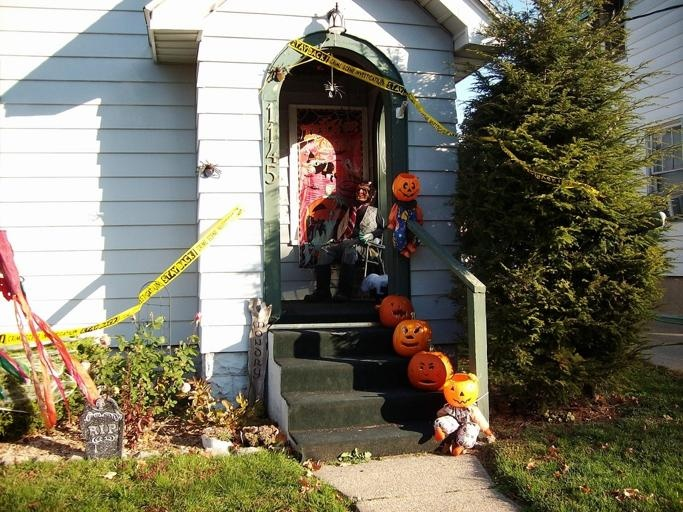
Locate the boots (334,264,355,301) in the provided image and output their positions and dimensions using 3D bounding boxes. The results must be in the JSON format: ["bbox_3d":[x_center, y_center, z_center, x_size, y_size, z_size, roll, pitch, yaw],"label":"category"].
[{"bbox_3d":[0.043,0.366,7.964,0.232,0.516,0.431,1,-6,32],"label":"boots"}]

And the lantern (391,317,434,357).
[{"bbox_3d":[0.790,0.891,6.621,0.404,0.363,0.403,-1,-6,10],"label":"lantern"}]

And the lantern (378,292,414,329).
[{"bbox_3d":[0.614,0.630,7.009,0.364,0.324,0.350,1,-14,-18],"label":"lantern"}]

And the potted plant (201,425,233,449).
[{"bbox_3d":[-1.210,1.777,5.891,0.300,0.165,0.275,-5,10,-13],"label":"potted plant"}]

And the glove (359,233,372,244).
[{"bbox_3d":[0.319,-0.227,7.644,0.136,0.122,0.104,13,-8,-14],"label":"glove"}]

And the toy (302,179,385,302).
[{"bbox_3d":[0.059,-0.168,8.150,1.002,1.682,0.908,26,8,2],"label":"toy"}]

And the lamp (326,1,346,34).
[{"bbox_3d":[-0.060,-2.803,7.063,0.223,0.367,0.220,-3,9,-4],"label":"lamp"}]

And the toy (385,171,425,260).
[{"bbox_3d":[0.727,-0.477,7.100,0.420,0.941,0.417,8,8,-2],"label":"toy"}]
